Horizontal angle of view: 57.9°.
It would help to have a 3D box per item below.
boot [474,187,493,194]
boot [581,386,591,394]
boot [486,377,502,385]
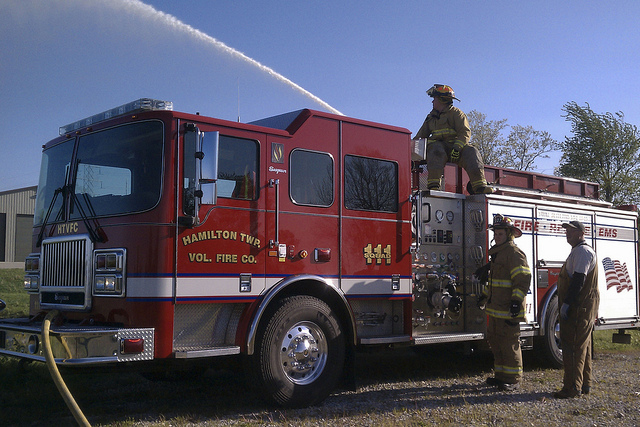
[{"bbox_3d":[2.866,-0.410,10.196,0.312,0.124,0.221,0,-3,11],"label":"boot"},{"bbox_3d":[4.076,2.712,8.896,0.114,0.116,0.115,0,-13,1],"label":"boot"},{"bbox_3d":[2.778,2.696,9.264,0.133,0.112,0.367,2,-4,-12],"label":"boot"}]
